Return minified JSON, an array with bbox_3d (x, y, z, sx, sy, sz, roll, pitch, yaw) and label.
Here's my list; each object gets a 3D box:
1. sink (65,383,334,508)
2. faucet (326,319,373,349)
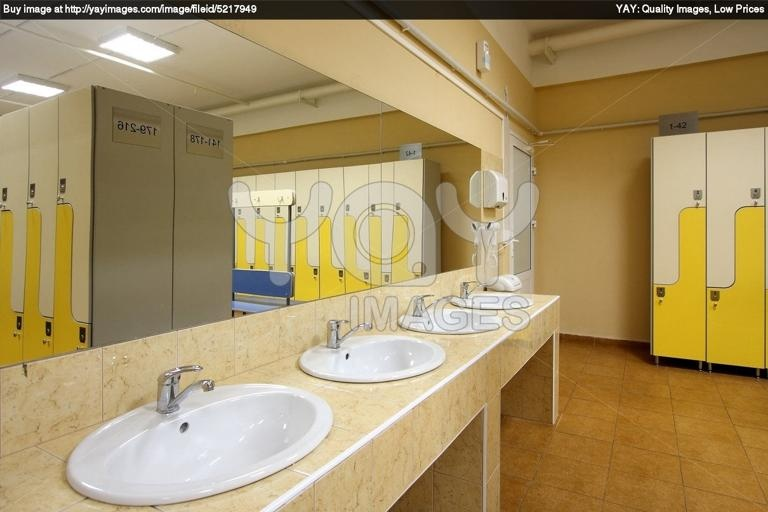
[{"bbox_3d":[-0.612,0.674,1.770,0.859,0.245,0.471,-6,11,-24],"label":"sink"},{"bbox_3d":[-0.116,0.368,2.455,0.283,0.169,0.097,-2,-4,17],"label":"faucet"}]
